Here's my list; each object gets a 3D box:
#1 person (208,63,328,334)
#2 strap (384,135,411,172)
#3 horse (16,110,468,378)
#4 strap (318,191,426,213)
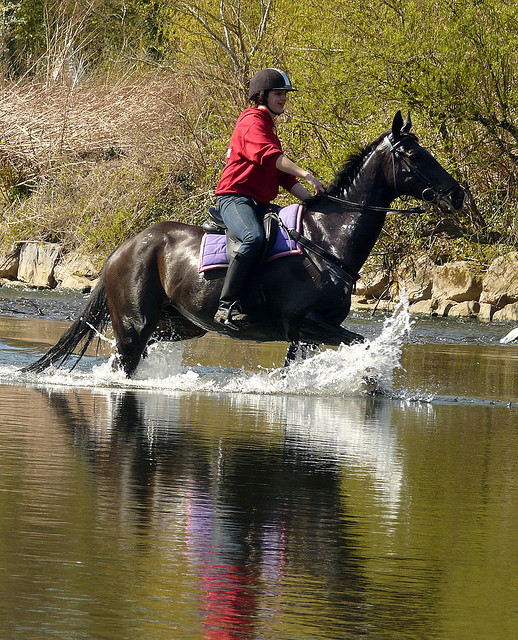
[{"bbox_3d":[0.013,-0.999,8.203,0.811,2.276,0.850,4,5,-4],"label":"person"},{"bbox_3d":[1.153,-1.360,8.078,0.065,0.393,0.056,-16,-33,-33],"label":"strap"},{"bbox_3d":[0.353,-0.686,9.445,3.258,2.424,5.071,-2,12,28],"label":"horse"},{"bbox_3d":[0.915,-0.979,8.140,0.858,0.159,0.292,4,4,22],"label":"strap"}]
